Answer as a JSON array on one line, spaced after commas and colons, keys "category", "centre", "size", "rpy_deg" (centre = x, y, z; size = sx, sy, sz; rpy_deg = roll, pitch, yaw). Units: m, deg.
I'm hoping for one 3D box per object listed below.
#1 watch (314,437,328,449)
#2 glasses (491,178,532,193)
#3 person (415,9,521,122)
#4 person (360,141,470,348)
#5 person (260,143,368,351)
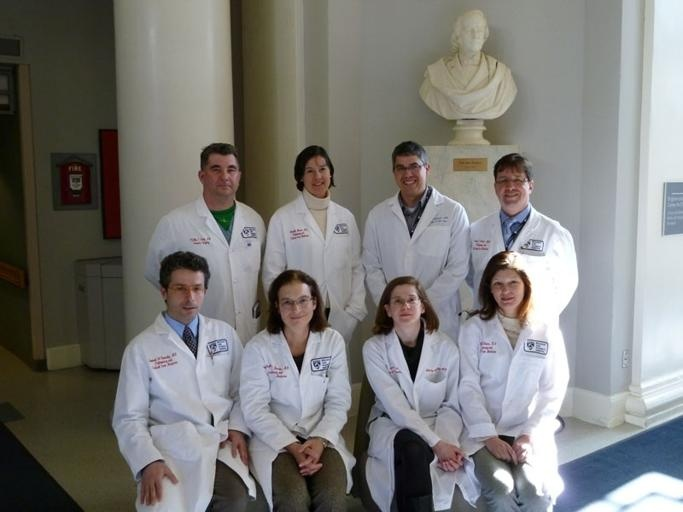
[{"category": "watch", "centre": [-0.102, 0.941, 3.006], "size": [0.060, 0.028, 0.049], "rpy_deg": [17, -13, 43]}, {"category": "glasses", "centre": [1.059, -0.434, 3.644], "size": [0.214, 0.087, 0.127], "rpy_deg": [2, 12, 14]}, {"category": "person", "centre": [0.974, -1.410, 4.496], "size": [0.716, 0.799, 0.409], "rpy_deg": [0, 12, 0]}, {"category": "person", "centre": [0.477, 0.349, 3.904], "size": [0.686, 2.148, 0.596], "rpy_deg": [1, 13, 12]}, {"category": "person", "centre": [-0.128, 0.291, 3.745], "size": [0.624, 1.905, 0.509], "rpy_deg": [-1, 0, -17]}]
